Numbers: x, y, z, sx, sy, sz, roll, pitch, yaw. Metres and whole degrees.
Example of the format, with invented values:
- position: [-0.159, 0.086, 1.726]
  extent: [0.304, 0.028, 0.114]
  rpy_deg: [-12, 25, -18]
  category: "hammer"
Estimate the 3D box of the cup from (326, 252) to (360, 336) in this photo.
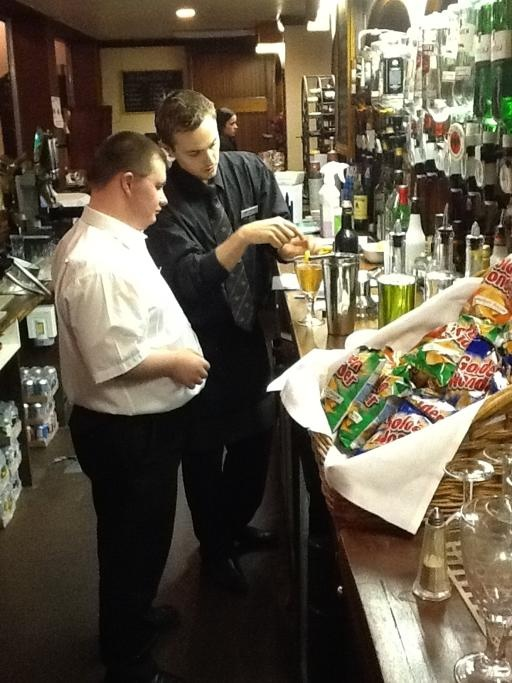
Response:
- position: [0.266, -0.149, 1.623]
  extent: [0.110, 0.247, 0.148]
  rpy_deg: [-3, 14, 7]
  category: "cup"

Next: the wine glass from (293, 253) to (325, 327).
- position: [0.183, -0.194, 1.782]
  extent: [0.086, 0.240, 0.226]
  rpy_deg: [-3, 14, 6]
  category: "wine glass"

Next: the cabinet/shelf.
- position: [0.676, -2.332, 5.659]
  extent: [0.482, 0.993, 0.965]
  rpy_deg: [-2, 18, 3]
  category: "cabinet/shelf"
